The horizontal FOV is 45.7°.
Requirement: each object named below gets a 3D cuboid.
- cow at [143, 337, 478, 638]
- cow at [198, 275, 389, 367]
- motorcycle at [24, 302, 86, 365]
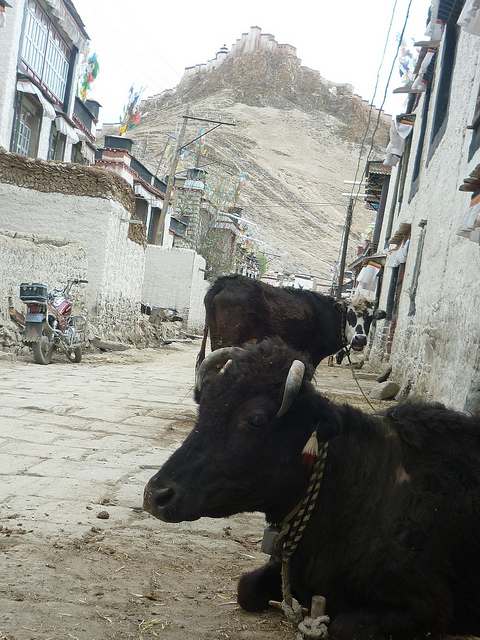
[{"bbox_3d":[0.328,0.577,2.038,1.127,1.005,0.620,7,0,8],"label":"cow"},{"bbox_3d":[0.563,0.255,6.248,2.320,1.127,0.665,7,-4,-33],"label":"cow"},{"bbox_3d":[-3.072,0.212,9.286,0.408,0.954,1.421,8,0,9],"label":"motorcycle"}]
